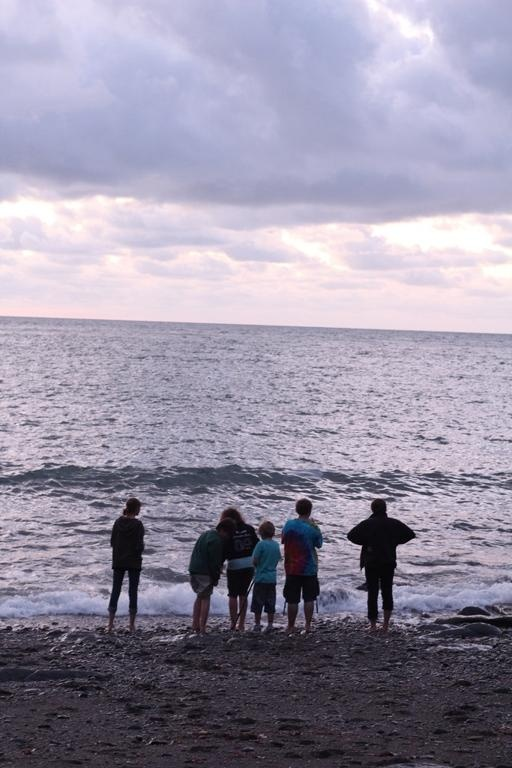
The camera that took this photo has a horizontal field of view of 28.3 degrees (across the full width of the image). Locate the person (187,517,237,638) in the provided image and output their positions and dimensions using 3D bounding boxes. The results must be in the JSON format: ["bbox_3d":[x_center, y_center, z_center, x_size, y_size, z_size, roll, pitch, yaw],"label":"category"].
[{"bbox_3d":[-0.596,2.415,12.641,0.506,1.568,0.704,2,4,-8],"label":"person"}]

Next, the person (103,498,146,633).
[{"bbox_3d":[-1.615,2.272,12.584,0.398,1.803,0.614,2,4,-8],"label":"person"}]
